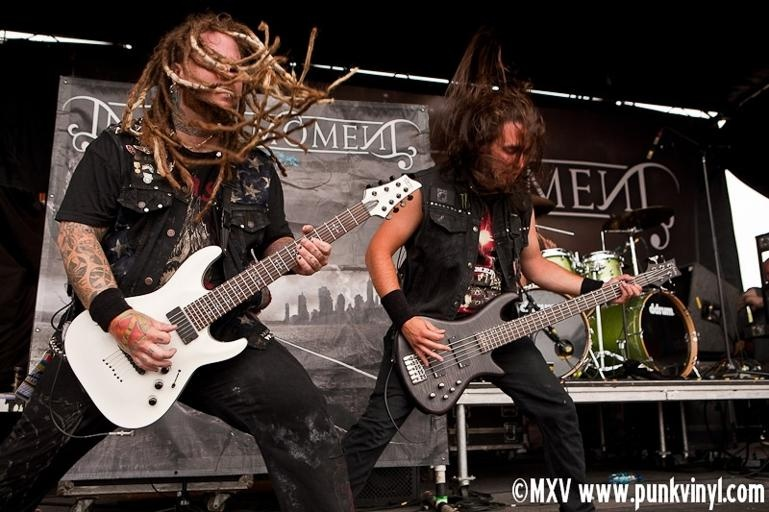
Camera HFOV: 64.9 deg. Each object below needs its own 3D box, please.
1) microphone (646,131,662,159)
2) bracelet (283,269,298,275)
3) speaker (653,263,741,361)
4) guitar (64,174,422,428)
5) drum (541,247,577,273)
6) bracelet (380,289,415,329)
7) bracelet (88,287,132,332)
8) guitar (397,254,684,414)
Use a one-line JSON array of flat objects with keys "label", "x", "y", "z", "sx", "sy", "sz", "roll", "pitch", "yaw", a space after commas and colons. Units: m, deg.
[{"label": "microphone", "x": 3.331, "y": -1.386, "z": 7.470, "sx": 0.247, "sy": 0.353, "sz": 0.075, "roll": 3, "pitch": 4, "yaw": -45}, {"label": "bracelet", "x": -0.528, "y": 0.088, "z": 3.343, "sx": 0.034, "sy": 0.024, "sz": 0.083, "roll": 14, "pitch": 26, "yaw": 43}, {"label": "speaker", "x": 3.349, "y": 0.646, "z": 6.511, "sx": 1.015, "sy": 0.907, "sz": 0.563, "roll": 11, "pitch": -14, "yaw": -44}, {"label": "guitar", "x": -0.805, "y": 0.296, "z": 3.396, "sx": 1.976, "sy": 0.633, "sz": 0.206, "roll": -36, "pitch": 0, "yaw": -21}, {"label": "drum", "x": 1.541, "y": 0.042, "z": 5.368, "sx": 0.242, "sy": 0.228, "sz": 0.237, "roll": 2, "pitch": -12, "yaw": -34}, {"label": "bracelet", "x": 0.055, "y": 0.337, "z": 3.699, "sx": 0.193, "sy": 0.237, "sz": 0.069, "roll": -30, "pitch": -2, "yaw": -25}, {"label": "bracelet", "x": -1.401, "y": 0.250, "z": 2.997, "sx": 0.236, "sy": 0.174, "sz": 0.063, "roll": -47, "pitch": -12, "yaw": 20}, {"label": "guitar", "x": 0.869, "y": 0.403, "z": 3.516, "sx": 2.021, "sy": 0.638, "sz": 0.186, "roll": -29, "pitch": -27, "yaw": 37}]
